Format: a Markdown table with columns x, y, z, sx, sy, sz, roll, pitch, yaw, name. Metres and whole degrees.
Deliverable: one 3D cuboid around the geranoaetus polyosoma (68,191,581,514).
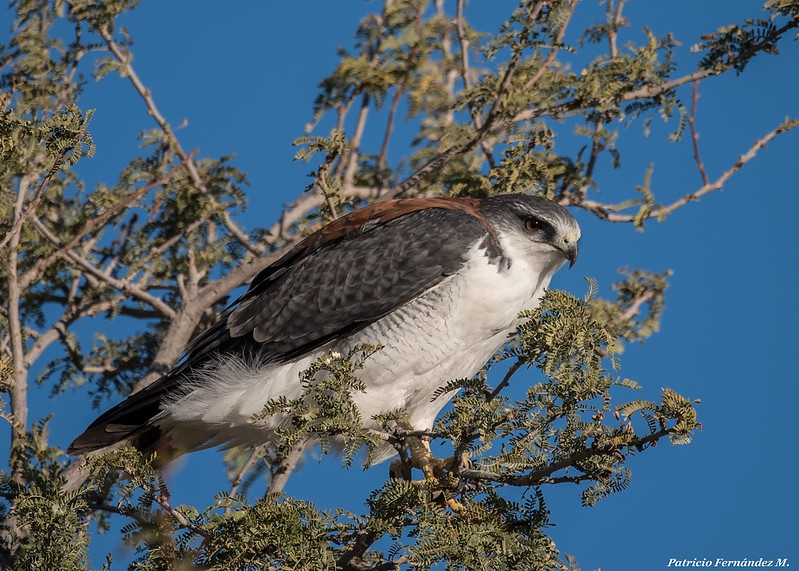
| x | y | z | sx | sy | sz | roll | pitch | yaw | name |
| --- | --- | --- | --- | --- | --- | --- | --- | --- | --- |
| -0.446 | 0.392 | 11.156 | 3.433 | 1.821 | 1.303 | -2 | -21 | 14 | geranoaetus polyosoma |
